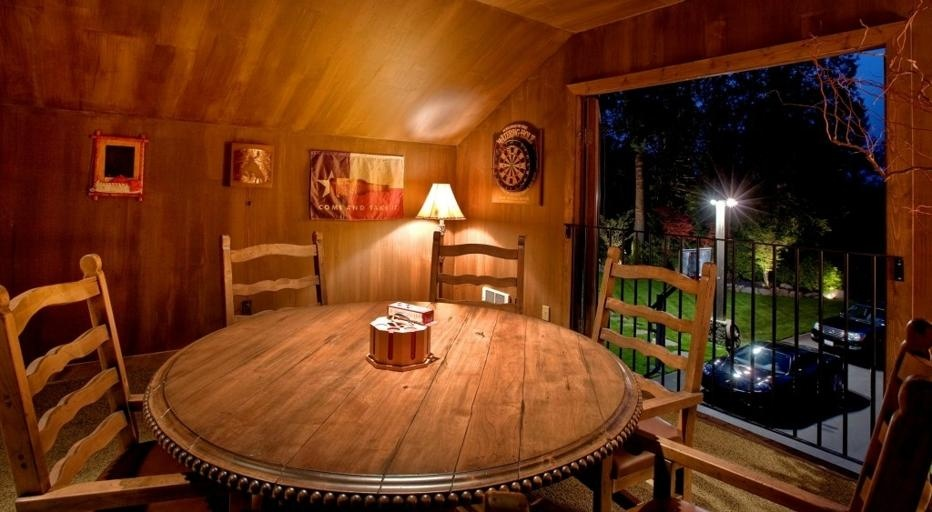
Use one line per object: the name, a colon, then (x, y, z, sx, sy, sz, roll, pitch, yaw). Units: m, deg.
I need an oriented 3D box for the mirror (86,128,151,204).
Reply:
mirror: (-3.512, -0.891, 5.847, 0.511, 0.614, 0.441, 2, -4, -15)

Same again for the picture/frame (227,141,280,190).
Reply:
picture/frame: (-2.335, -0.986, 6.201, 0.568, 0.594, 0.085, 3, -1, -35)

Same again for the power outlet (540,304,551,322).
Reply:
power outlet: (0.880, 0.629, 6.310, 0.025, 0.249, 0.220, 4, -4, -31)
